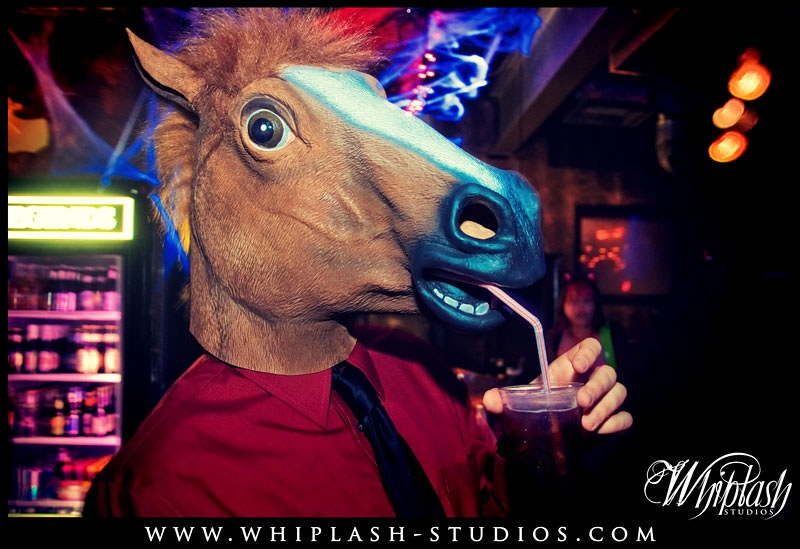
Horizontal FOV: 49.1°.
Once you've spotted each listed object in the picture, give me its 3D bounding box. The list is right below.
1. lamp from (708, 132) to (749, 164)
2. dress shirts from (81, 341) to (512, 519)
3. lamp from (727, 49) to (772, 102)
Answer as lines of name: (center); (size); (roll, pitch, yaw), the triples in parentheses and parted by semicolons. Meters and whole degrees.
lamp: (2.448, -0.953, 6.498); (0.228, 0.239, 0.187); (11, 56, 12)
dress shirts: (-0.573, 0.894, 4.938); (1.476, 0.712, 0.984); (-1, 89, -11)
lamp: (2.459, -1.367, 6.134); (0.260, 0.397, 0.243); (18, 58, 16)
